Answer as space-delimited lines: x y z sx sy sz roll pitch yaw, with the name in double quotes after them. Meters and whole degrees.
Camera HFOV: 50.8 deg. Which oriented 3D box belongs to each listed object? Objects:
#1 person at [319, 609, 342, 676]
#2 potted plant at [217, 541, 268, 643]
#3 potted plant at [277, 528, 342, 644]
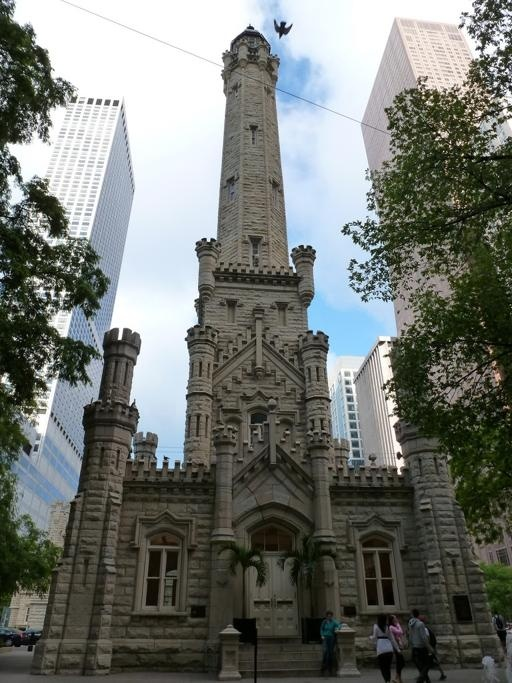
2.006 8.152 14.581 0.568 1.471 0.875 -4 -30 7 "person"
-0.233 7.524 16.067 1.311 2.904 1.407 -2 -12 -9 "potted plant"
1.639 7.018 17.042 1.498 1.949 1.690 -2 -40 -2 "potted plant"
